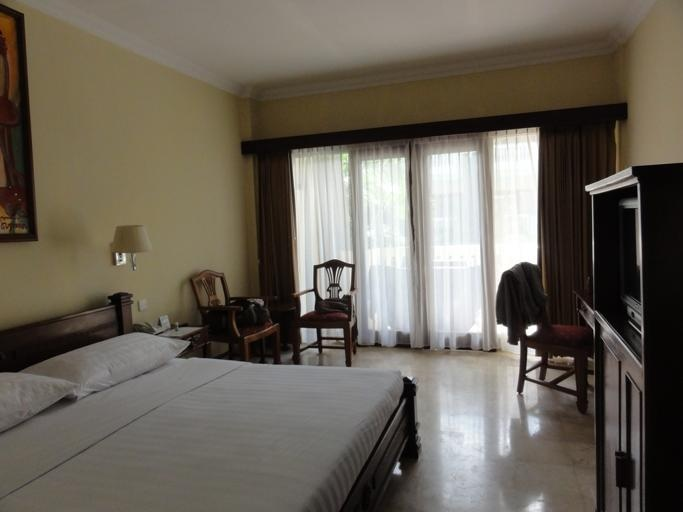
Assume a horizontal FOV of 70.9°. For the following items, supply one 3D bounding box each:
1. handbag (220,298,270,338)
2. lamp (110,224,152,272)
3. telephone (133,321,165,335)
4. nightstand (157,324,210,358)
[{"bbox_3d":[-0.994,0.654,5.056,0.339,0.176,0.303,6,15,22],"label":"handbag"},{"bbox_3d":[-1.805,-0.073,4.102,0.281,0.357,0.286,-1,9,23],"label":"lamp"},{"bbox_3d":[-1.700,0.648,4.238,0.132,0.050,0.134,7,7,5],"label":"telephone"},{"bbox_3d":[-1.437,0.753,4.444,0.297,0.415,0.405,1,3,16],"label":"nightstand"}]
